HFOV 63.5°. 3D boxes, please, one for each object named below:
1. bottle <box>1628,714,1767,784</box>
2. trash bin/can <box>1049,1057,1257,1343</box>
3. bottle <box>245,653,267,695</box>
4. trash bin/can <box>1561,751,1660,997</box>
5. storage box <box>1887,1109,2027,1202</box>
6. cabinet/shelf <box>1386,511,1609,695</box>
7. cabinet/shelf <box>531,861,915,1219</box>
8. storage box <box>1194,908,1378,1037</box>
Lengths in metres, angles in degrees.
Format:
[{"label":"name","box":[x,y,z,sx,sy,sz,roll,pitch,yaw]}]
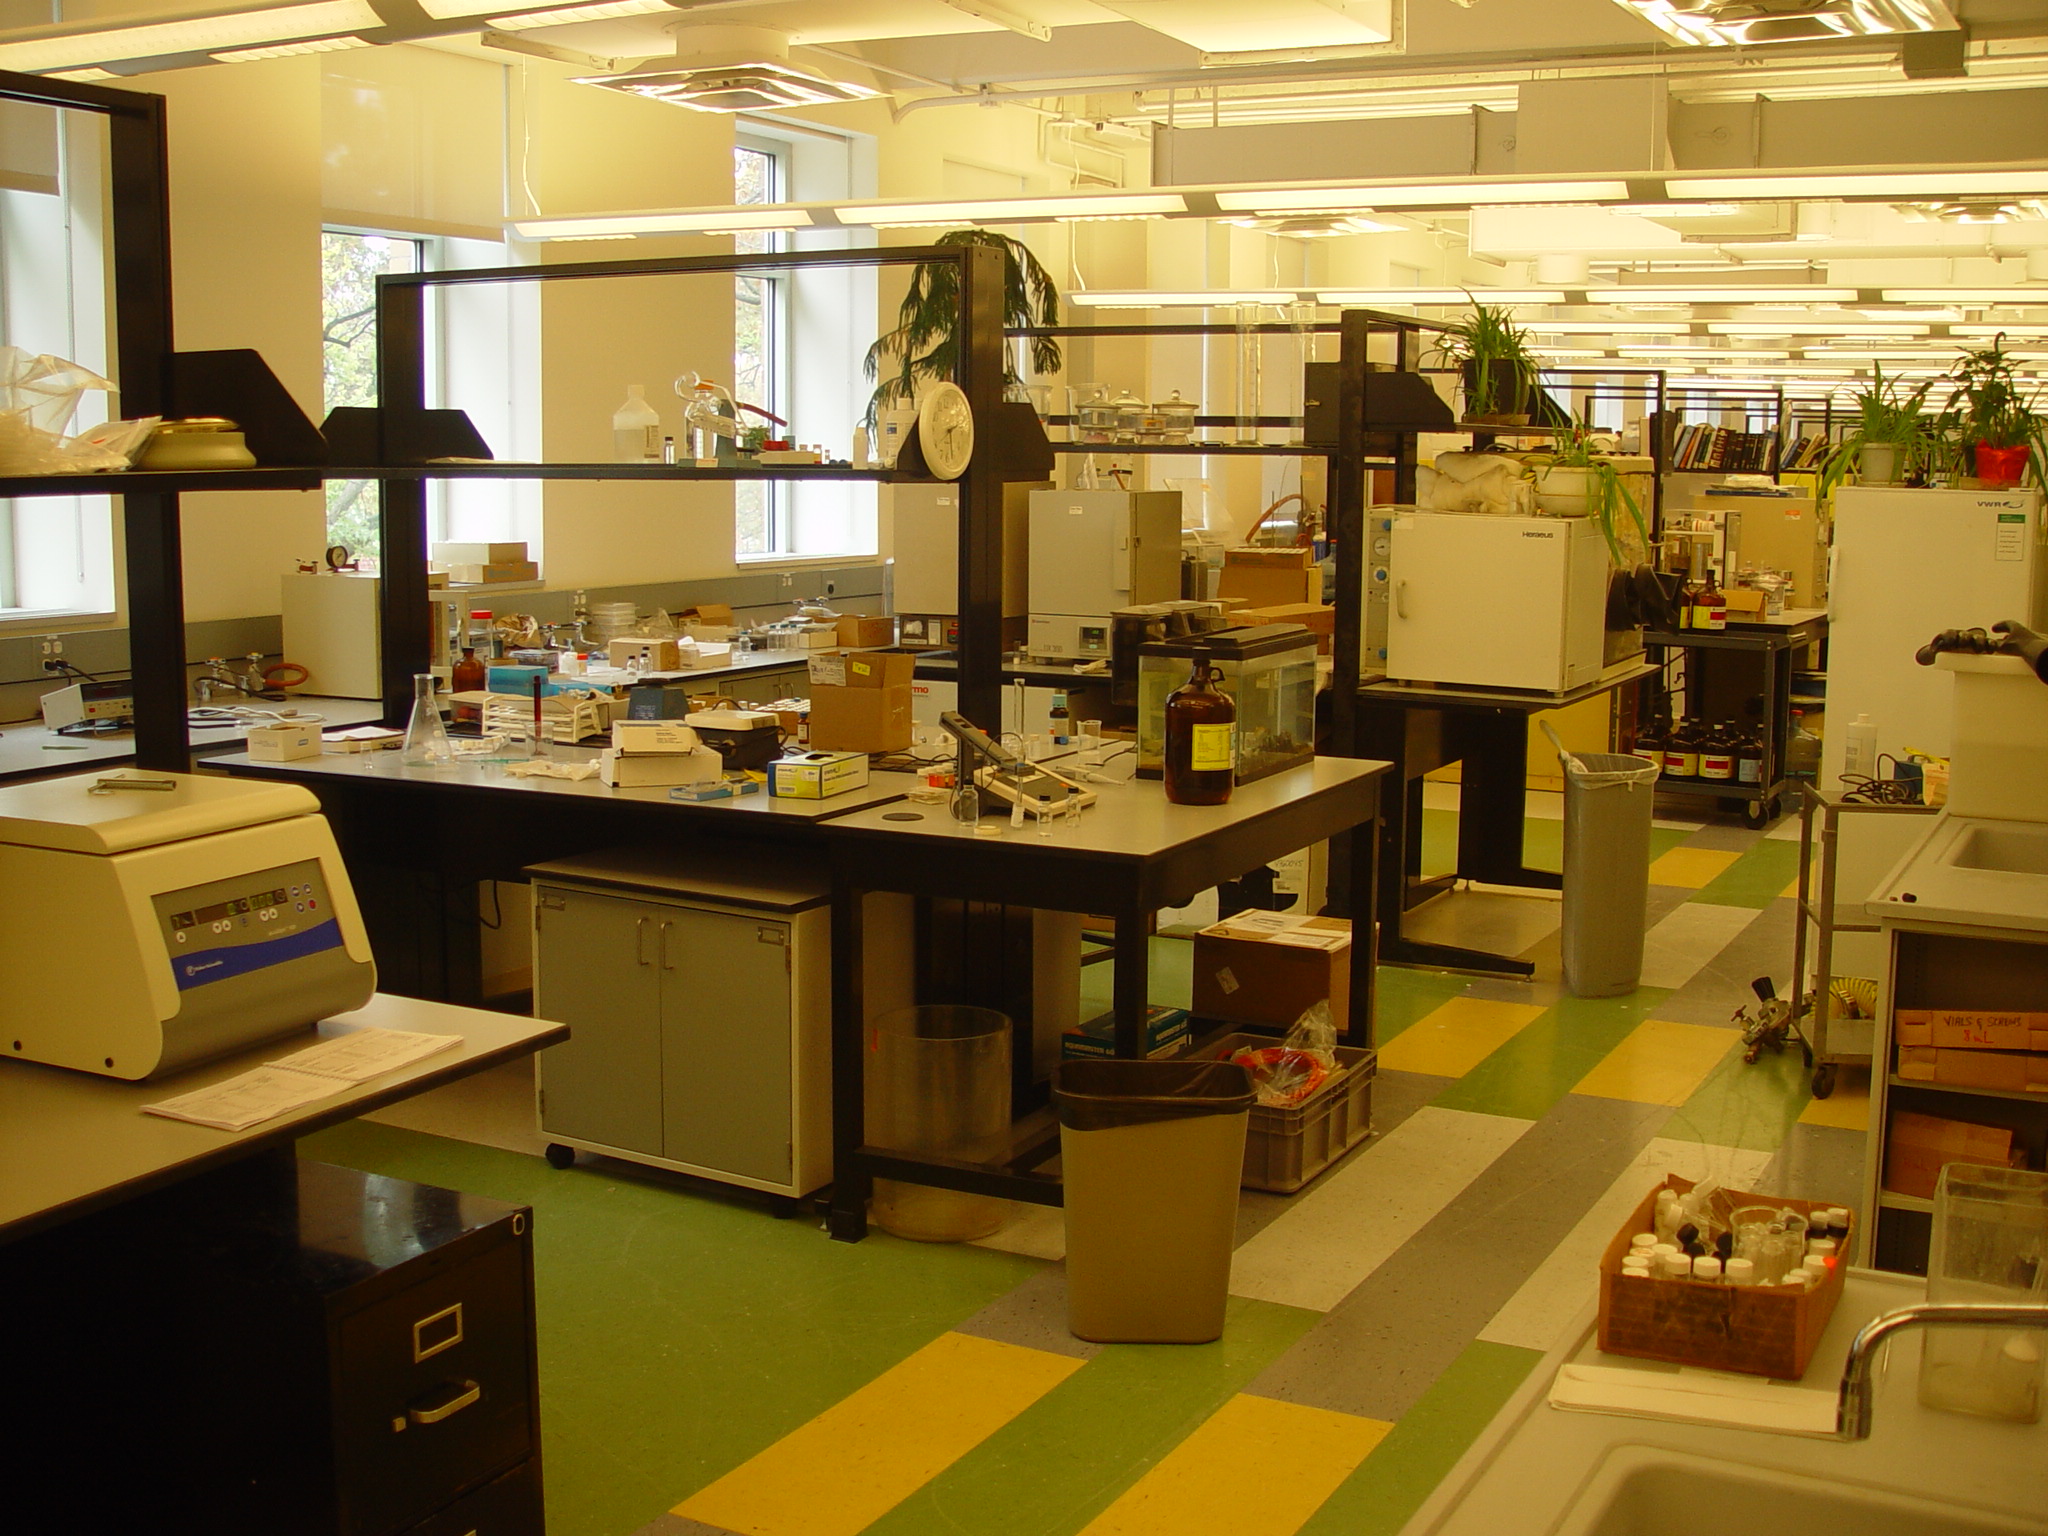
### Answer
[{"label":"bottle","box":[3.816,-0.120,9.219,0.606,0.291,0.340,8,12,41]},{"label":"trash bin/can","box":[0.258,1.022,3.934,0.494,0.550,0.482,-2,-3,21]},{"label":"bottle","box":[-3.115,-0.378,6.668,0.072,0.144,0.304,-5,12,-25]},{"label":"trash bin/can","box":[2.149,0.419,6.193,0.316,0.886,0.197,3,11,14]},{"label":"storage box","box":[2.094,0.896,3.756,0.266,0.198,0.132,7,13,29]},{"label":"cabinet/shelf","box":[1.815,-0.644,6.379,0.712,0.623,0.730,3,5,31]},{"label":"cabinet/shelf","box":[-0.833,0.697,4.628,0.922,0.858,0.619,4,6,29]},{"label":"storage box","box":[0.799,0.639,5.298,0.392,0.242,0.395,2,3,33]}]
